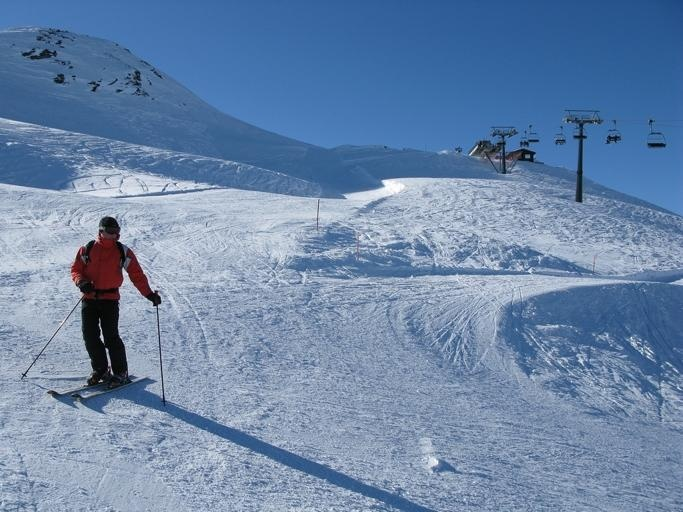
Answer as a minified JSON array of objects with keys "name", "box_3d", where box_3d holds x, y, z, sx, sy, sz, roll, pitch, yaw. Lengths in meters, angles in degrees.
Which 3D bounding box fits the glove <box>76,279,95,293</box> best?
[{"name":"glove","box_3d":[-4.593,0.540,11.827,0.298,0.174,0.309,22,4,-22]}]

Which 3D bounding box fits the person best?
[{"name":"person","box_3d":[-4.232,0.837,12.002,1.307,3.056,0.706,2,13,-15]}]
